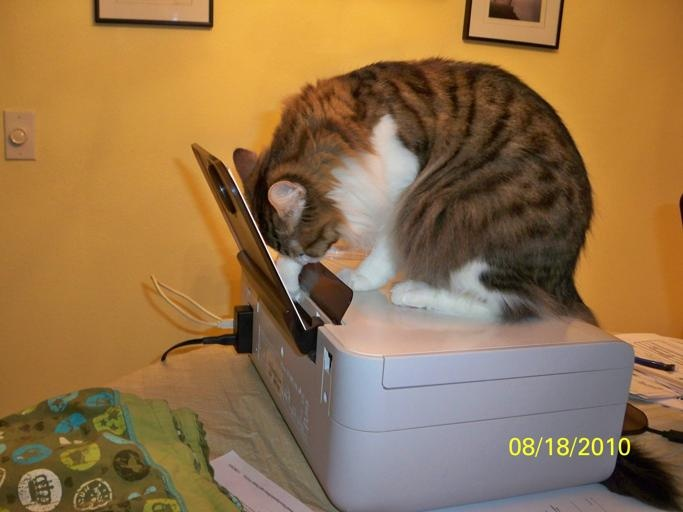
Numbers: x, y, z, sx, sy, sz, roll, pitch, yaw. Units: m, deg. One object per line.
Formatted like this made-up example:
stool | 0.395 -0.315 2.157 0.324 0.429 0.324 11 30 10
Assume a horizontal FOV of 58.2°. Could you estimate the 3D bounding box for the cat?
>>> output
cat | 0.194 -0.186 1.668 0.790 0.630 0.570 -1 8 4
